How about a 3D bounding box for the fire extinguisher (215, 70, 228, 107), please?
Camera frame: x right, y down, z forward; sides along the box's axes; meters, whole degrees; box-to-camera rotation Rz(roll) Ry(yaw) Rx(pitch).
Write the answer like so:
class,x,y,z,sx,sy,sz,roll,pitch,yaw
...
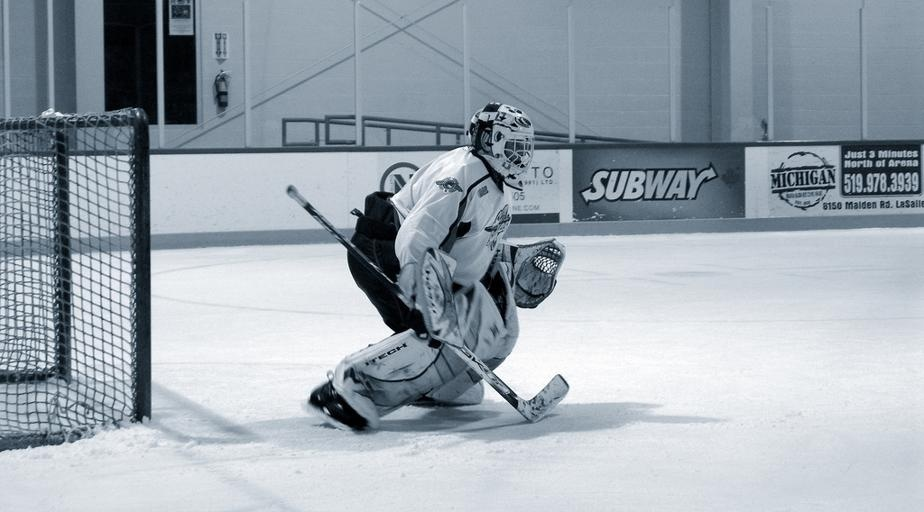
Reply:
class,x,y,z,sx,sy,sz,roll,pitch,yaw
fire extinguisher,-4.574,-3.133,28.034,0.240,0.687,0.212,1,6,-12
